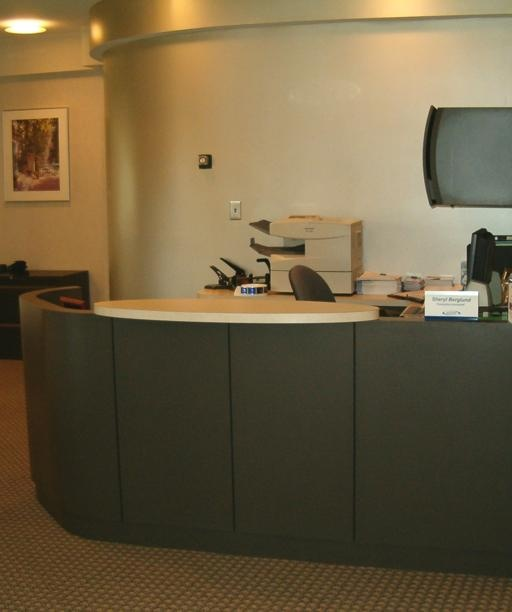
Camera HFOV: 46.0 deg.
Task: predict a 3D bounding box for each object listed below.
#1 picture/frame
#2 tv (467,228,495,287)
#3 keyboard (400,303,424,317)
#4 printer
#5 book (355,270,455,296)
[{"bbox_3d":[-2.202,-1.573,6.099,1.020,1.233,0.048,3,6,7],"label":"picture/frame"},{"bbox_3d":[0.947,-0.202,2.539,0.108,0.236,0.216,1,6,19],"label":"tv"},{"bbox_3d":[0.902,0.027,3.463,0.185,0.062,0.054,-8,14,-42],"label":"keyboard"},{"bbox_3d":[0.408,-0.375,4.177,0.566,0.479,0.557,1,6,9],"label":"printer"},{"bbox_3d":[1.087,-0.157,4.265,0.714,0.143,0.389,-5,7,-30],"label":"book"}]
